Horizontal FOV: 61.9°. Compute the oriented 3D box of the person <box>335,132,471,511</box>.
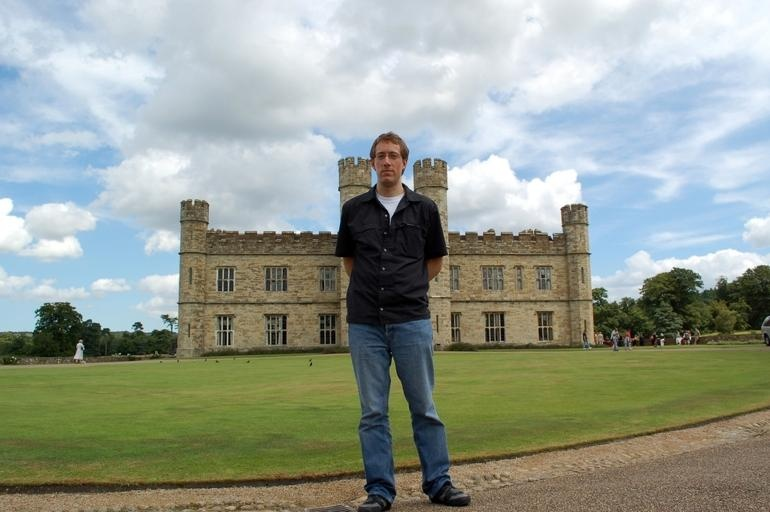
[{"bbox_3d":[0.099,0.521,5.698,1.003,3.270,0.508,-2,-10,-5],"label":"person"}]

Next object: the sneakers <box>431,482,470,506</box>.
[{"bbox_3d":[0.555,2.029,5.466,0.339,0.130,0.137,-11,-17,41],"label":"sneakers"}]
